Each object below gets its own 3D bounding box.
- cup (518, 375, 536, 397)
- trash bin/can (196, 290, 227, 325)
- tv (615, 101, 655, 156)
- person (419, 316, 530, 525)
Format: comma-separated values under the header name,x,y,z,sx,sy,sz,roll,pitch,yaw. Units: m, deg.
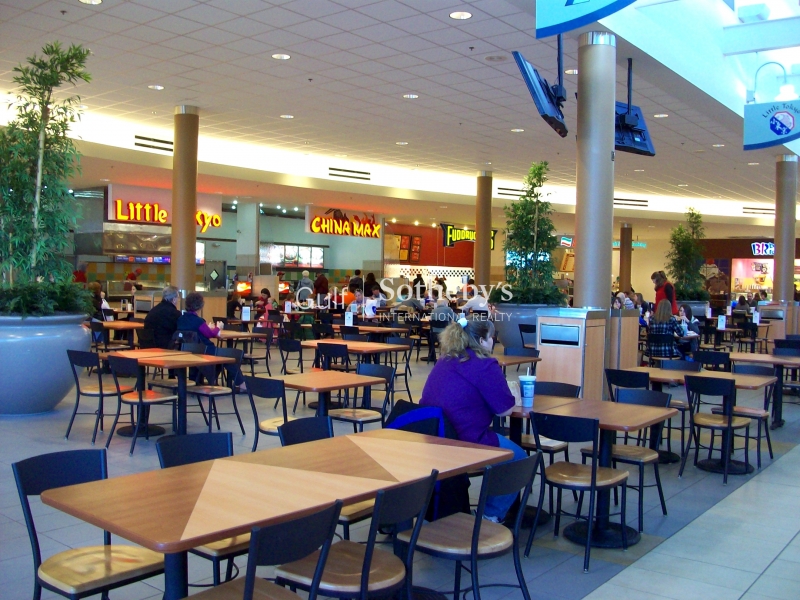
name,x,y,z,sx,sy,sz,roll,pitch,yaw
cup,0.969,0.642,4.940,0.146,0.196,0.153,-1,2,0
trash bin/can,-3.491,0.143,12.010,0.497,0.620,0.671,-1,-1,22
tv,3.220,-2.425,9.098,0.337,0.731,0.980,1,1,40
person,0.451,0.569,4.183,0.663,0.897,0.426,0,1,9
